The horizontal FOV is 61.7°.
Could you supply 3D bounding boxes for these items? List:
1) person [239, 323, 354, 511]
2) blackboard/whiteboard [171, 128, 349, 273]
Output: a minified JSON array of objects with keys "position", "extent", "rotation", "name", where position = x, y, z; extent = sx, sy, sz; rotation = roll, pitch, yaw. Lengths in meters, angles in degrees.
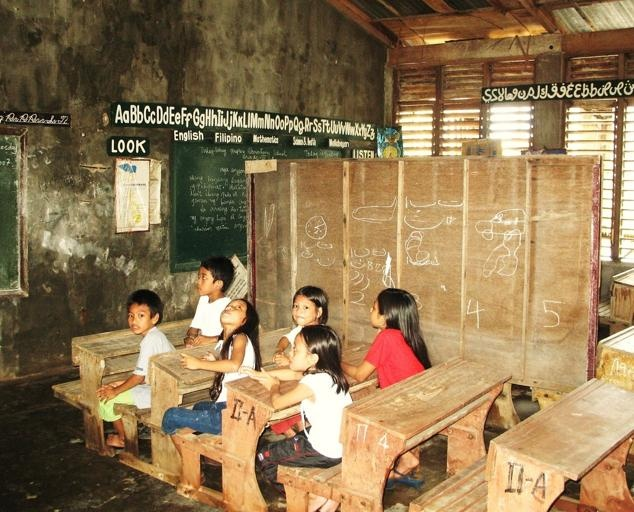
[{"position":[-0.086,0.896,3.135],"extent":[0.559,0.968,0.335],"rotation":[0,8,1],"name":"person"},{"position":[-0.826,-0.609,6.345],"extent":[0.046,1.237,2.161],"rotation":[7,8,39],"name":"blackboard/whiteboard"}]
